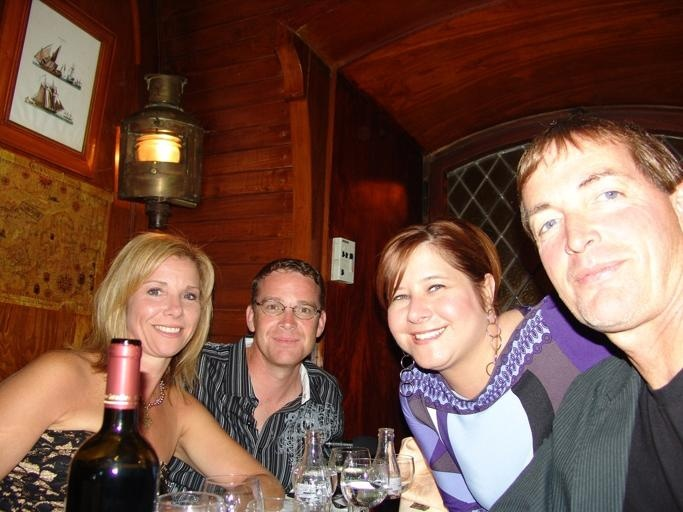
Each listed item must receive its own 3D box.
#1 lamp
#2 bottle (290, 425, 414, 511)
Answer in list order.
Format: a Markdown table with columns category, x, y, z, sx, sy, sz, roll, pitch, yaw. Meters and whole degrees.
| category | x | y | z | sx | sy | sz | roll | pitch | yaw |
| --- | --- | --- | --- | --- | --- | --- | --- | --- | --- |
| lamp | -0.978 | -0.565 | 3.348 | 0.731 | 1.168 | 0.688 | 2 | 0 | -18 |
| bottle | 0.120 | 0.719 | 1.880 | 0.313 | 0.236 | 0.330 | 1 | -17 | 0 |
